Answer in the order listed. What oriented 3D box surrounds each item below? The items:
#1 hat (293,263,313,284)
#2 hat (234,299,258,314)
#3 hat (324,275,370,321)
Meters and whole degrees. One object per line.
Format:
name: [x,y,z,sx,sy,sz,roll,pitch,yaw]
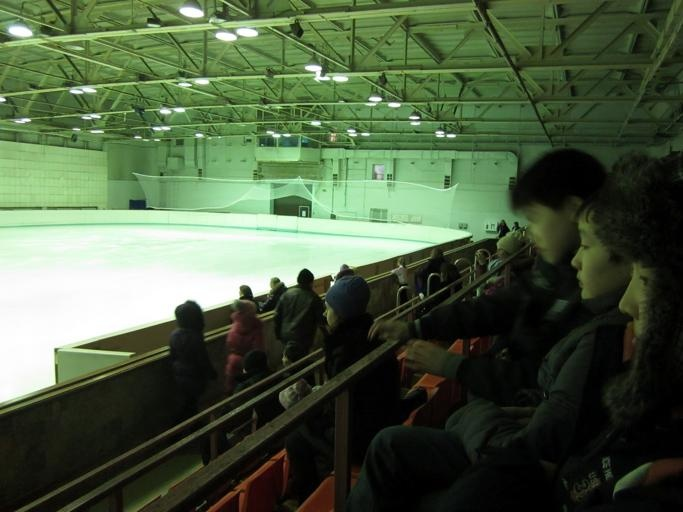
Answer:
hat: [-0.422,0.213,6.605,0.182,0.217,0.228,-1,4,-10]
hat: [-0.987,0.482,5.961,0.147,0.154,0.183,6,15,-41]
hat: [0.081,0.230,3.364,0.269,0.227,0.209,-11,3,27]
